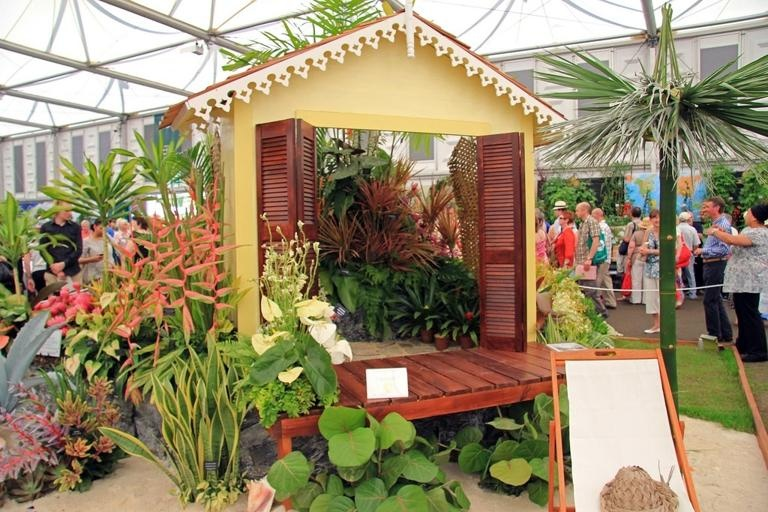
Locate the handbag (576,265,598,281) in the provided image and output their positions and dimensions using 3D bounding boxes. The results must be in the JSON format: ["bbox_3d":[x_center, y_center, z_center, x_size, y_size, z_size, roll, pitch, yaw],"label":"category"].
[{"bbox_3d":[3.525,0.277,8.864,0.150,0.195,0.271,0,3,-28],"label":"handbag"}]

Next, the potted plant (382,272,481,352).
[{"bbox_3d":[0.670,0.697,6.662,0.898,0.472,0.906,0,2,-10],"label":"potted plant"}]
